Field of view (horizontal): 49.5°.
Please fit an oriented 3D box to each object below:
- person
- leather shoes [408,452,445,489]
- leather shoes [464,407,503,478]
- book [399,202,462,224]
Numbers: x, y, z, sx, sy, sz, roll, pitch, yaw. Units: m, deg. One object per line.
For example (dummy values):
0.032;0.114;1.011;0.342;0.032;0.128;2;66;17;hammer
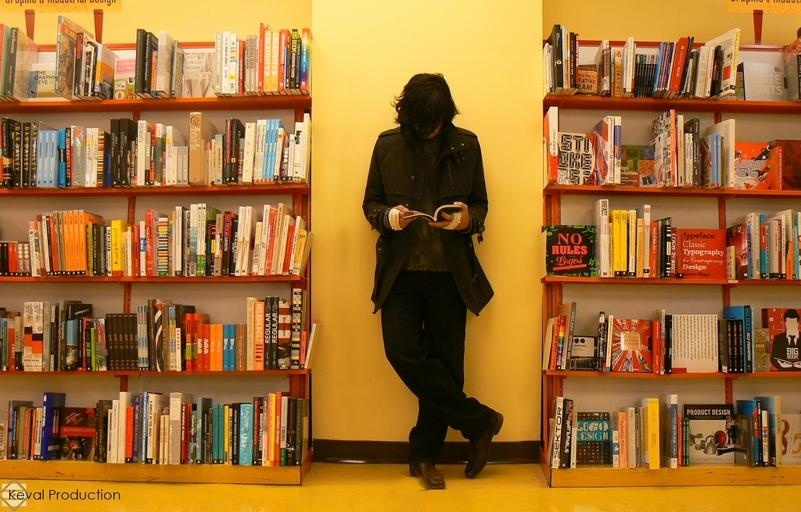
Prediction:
0.226;0.183;5.937;0.694;2.710;0.835;-12;-17;39;person
0.181;1.454;5.893;0.125;0.129;0.313;1;-6;-21;leather shoes
0.526;1.279;6.008;0.234;0.549;0.188;15;15;-10;leather shoes
0.225;-0.293;5.790;0.347;0.163;0.279;-7;-14;24;book
